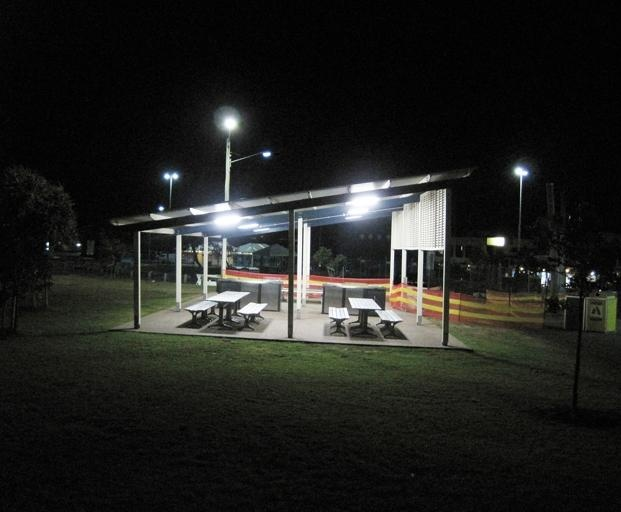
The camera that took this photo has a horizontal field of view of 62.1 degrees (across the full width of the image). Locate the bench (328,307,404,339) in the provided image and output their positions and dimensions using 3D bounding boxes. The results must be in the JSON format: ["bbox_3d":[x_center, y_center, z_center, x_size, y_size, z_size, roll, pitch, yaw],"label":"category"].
[{"bbox_3d":[1.411,1.574,13.205,1.828,0.856,2.215,2,5,1],"label":"bench"}]
